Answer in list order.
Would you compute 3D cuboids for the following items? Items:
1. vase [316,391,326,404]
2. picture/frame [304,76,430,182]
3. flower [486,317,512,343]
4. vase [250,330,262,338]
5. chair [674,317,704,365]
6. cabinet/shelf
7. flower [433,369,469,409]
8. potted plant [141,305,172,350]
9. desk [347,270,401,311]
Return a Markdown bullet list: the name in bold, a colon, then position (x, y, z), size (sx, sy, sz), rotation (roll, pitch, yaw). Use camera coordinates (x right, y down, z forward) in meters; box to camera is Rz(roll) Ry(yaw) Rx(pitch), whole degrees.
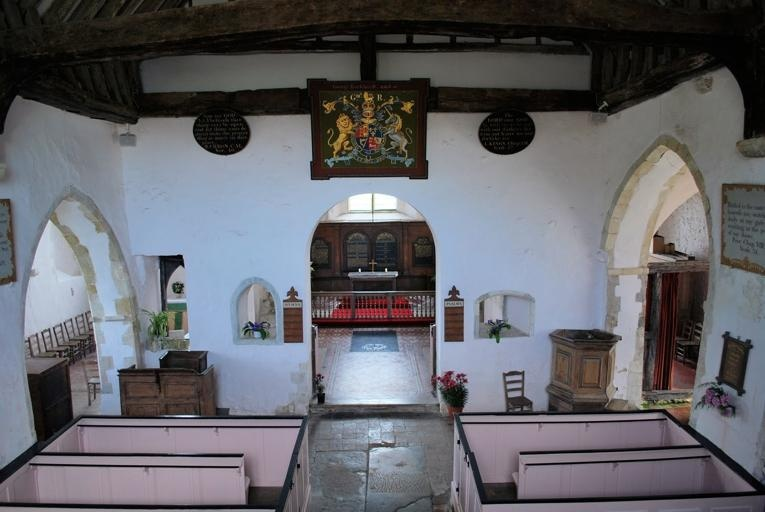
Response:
- **vase**: position (-1.371, 3.112, 12.720), size (0.254, 0.318, 0.220), rotation (0, -2, -24)
- **picture/frame**: position (-0.304, -2.677, 11.591), size (2.005, 1.654, 0.239), rotation (0, 15, 0)
- **flower**: position (2.530, 1.601, 12.482), size (0.470, 0.424, 0.478), rotation (0, -3, 1)
- **vase**: position (-2.759, 1.675, 12.643), size (0.221, 0.166, 0.121), rotation (0, 2, 1)
- **chair**: position (7.969, 2.250, 14.913), size (0.598, 0.883, 0.708), rotation (-1, 0, 28)
- **cabinet/shelf**: position (-6.636, 2.808, 11.258), size (0.532, 1.787, 0.953), rotation (-1, 0, -3)
- **flower**: position (1.444, 2.810, 12.062), size (0.711, 0.978, 0.916), rotation (0, 1, 5)
- **potted plant**: position (-5.079, 1.634, 13.149), size (0.752, 1.055, 0.797), rotation (0, 3, 10)
- **desk**: position (-0.282, 1.237, 19.999), size (1.804, 1.328, 1.021), rotation (0, -1, 0)
